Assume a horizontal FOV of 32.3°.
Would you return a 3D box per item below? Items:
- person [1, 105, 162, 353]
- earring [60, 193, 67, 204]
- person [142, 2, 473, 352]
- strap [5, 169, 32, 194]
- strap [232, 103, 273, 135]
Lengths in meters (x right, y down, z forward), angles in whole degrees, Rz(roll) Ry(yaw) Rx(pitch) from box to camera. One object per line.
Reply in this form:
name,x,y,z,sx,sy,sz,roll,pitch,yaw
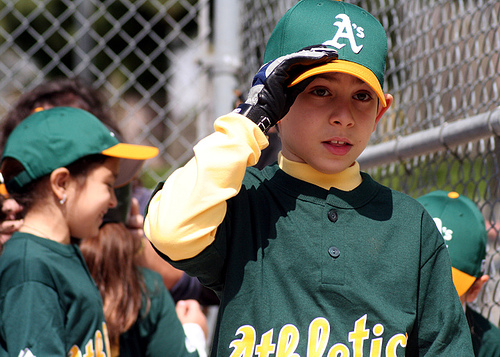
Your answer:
person,-0.936,0.195,4.801,0.906,1.739,1.016,-7,6,-19
earring,-0.927,0.103,4.277,0.014,0.045,0.031,19,4,-18
person,0.278,-0.001,3.829,1.397,1.593,0.411,8,-15,-7
strap,-1.161,0.016,4.324,0.124,0.048,0.095,-34,-4,16
strap,0.012,-0.268,3.758,0.148,0.070,0.110,45,10,-27
